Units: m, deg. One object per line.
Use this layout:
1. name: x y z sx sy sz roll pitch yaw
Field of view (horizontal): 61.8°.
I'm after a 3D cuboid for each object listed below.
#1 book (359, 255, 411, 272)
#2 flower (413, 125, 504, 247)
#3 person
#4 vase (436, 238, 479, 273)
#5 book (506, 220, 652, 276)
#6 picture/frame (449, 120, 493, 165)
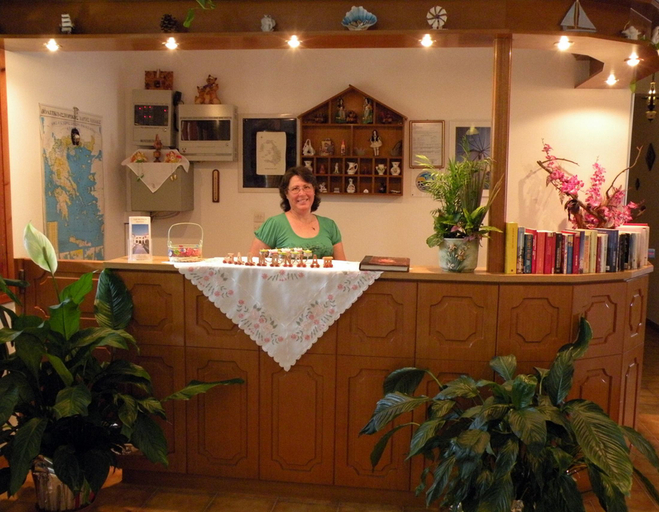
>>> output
1. book: 0.336 0.045 3.359 0.303 0.072 0.331 1 4 8
2. flower: 0.834 -0.309 3.249 0.397 0.644 0.474 9 -8 8
3. person: -0.222 -0.306 4.041 0.692 0.671 0.301 0 3 -9
4. vase: 0.751 -0.016 3.249 0.197 0.156 0.200 4 5 28
5. book: 1.513 -0.050 3.358 1.037 0.296 0.303 -1 4 -25
6. picture/frame: 1.398 -1.097 5.423 0.426 0.439 0.012 6 23 28
